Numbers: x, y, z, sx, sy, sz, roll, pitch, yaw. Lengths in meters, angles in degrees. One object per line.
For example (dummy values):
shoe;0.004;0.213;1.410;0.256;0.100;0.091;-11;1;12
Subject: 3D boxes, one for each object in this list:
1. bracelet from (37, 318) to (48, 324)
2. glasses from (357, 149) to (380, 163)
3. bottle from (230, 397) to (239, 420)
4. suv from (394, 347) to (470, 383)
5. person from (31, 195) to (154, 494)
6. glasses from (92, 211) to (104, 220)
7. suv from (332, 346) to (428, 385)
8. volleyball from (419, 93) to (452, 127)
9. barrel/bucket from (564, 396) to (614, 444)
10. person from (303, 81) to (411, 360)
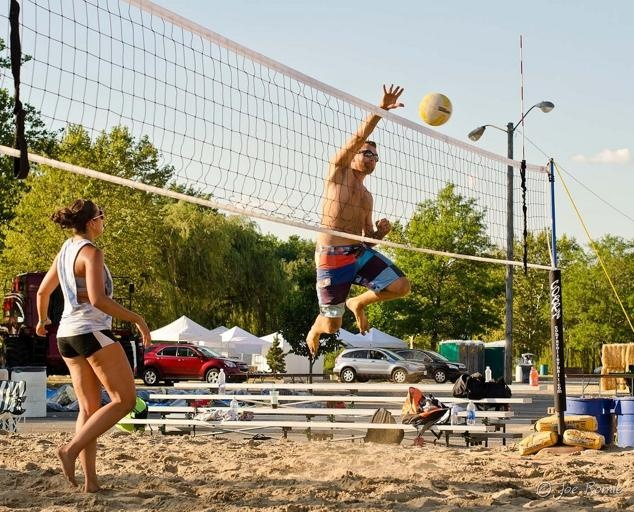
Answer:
bracelet;-2.680;0.645;8.900;0.131;0.046;0.084;-7;1;-5
glasses;0.611;-1.158;10.499;0.153;0.052;0.158;7;34;-34
bottle;-1.208;2.285;13.599;0.128;0.324;0.349;4;-9;-6
suv;3.872;3.699;30.175;2.609;1.060;1.200;0;-1;9
person;-2.076;0.785;8.401;0.987;2.749;0.862;6;-9;-17
glasses;-2.048;-0.378;8.584;0.111;0.037;0.108;-8;8;2
suv;1.960;3.566;29.673;2.733;1.108;1.284;-3;-3;18
volleyball;1.504;-1.823;11.497;0.385;0.435;0.297;2;-9;5
barrel/bucket;3.739;2.180;12.512;0.604;0.651;0.625;1;0;0
person;0.494;-0.417;10.508;1.004;3.077;1.216;3;-9;-1
